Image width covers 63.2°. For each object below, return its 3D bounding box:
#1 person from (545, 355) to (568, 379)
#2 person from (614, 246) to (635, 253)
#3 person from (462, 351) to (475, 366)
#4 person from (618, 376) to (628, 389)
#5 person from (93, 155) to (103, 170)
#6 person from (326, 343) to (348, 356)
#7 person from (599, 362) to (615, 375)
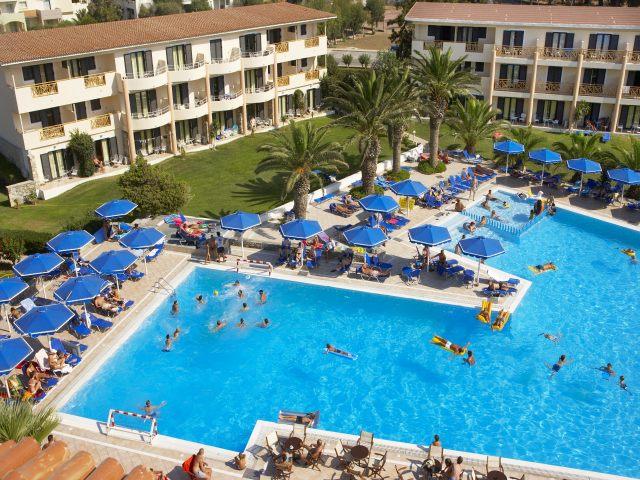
[{"bbox_3d":[12.805,6.749,27.979,0.568,0.655,1.762,27,28,19],"label":"person"},{"bbox_3d":[22.295,0.686,37.983,0.769,0.260,0.607,9,18,36],"label":"person"},{"bbox_3d":[8.163,6.357,28.333,0.672,0.510,0.896,6,22,17],"label":"person"},{"bbox_3d":[15.685,7.378,26.919,0.250,0.247,0.767,-8,26,22],"label":"person"},{"bbox_3d":[-21.134,-7.353,49.896,0.692,1.283,1.302,-5,21,-11],"label":"person"},{"bbox_3d":[0.938,6.141,28.946,1.297,0.481,0.504,24,54,20],"label":"person"},{"bbox_3d":[15.329,6.812,27.771,0.687,0.292,0.832,12,25,30],"label":"person"}]
